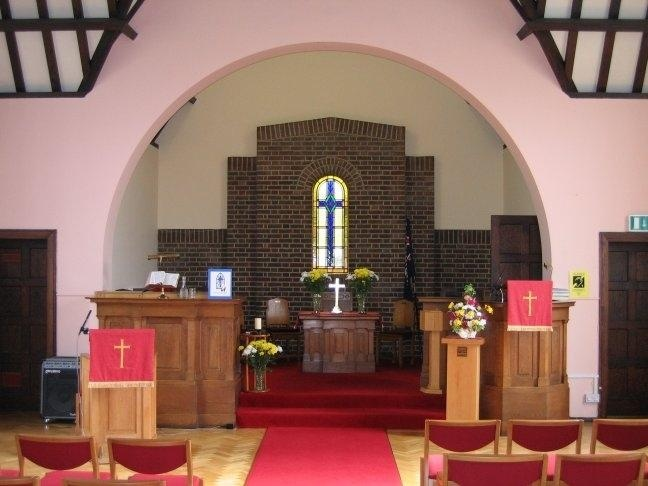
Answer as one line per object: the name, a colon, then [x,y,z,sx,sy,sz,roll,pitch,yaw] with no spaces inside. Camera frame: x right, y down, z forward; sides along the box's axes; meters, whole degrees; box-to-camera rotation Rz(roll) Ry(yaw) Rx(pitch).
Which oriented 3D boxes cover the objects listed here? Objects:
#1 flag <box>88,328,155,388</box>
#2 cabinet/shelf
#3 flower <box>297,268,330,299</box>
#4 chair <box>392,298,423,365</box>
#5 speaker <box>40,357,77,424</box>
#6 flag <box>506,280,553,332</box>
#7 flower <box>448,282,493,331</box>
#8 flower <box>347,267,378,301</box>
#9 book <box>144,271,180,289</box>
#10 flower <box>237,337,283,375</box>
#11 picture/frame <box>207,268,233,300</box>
flag: [-2.367,1.349,8.095,0.660,0.572,0.108,0,-3,-4]
cabinet/shelf: [0.260,1.698,11.543,1.167,0.908,0.626,-1,-7,6]
flower: [-0.078,0.645,11.731,0.535,0.555,0.444,0,1,-32]
chair: [1.323,1.614,12.558,0.645,1.148,0.655,1,-6,-7]
speaker: [-3.744,2.143,9.775,0.576,0.940,0.562,2,2,-4]
flag: [2.686,0.833,9.124,0.626,0.670,0.066,0,0,0]
flower: [1.960,0.920,9.273,0.564,0.698,0.608,-2,-3,14]
flower: [0.647,0.619,11.744,0.514,0.670,0.643,1,3,7]
book: [-2.221,0.515,9.782,0.415,0.235,0.099,2,-13,6]
flower: [-0.956,1.702,10.202,0.583,0.543,0.628,3,-13,-24]
picture/frame: [-1.433,0.579,9.527,0.401,0.489,0.054,0,-12,-6]
